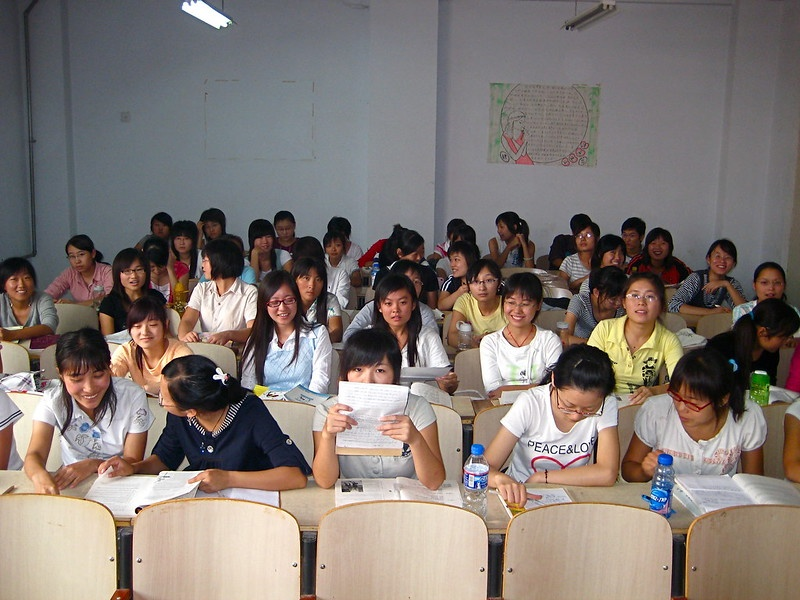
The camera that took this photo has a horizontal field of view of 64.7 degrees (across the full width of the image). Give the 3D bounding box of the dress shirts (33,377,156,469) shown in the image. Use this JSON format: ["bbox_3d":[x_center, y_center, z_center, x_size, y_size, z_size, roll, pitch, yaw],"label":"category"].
[{"bbox_3d":[-1.171,0.512,2.531,0.376,0.405,0.199,-2,9,5],"label":"dress shirts"}]

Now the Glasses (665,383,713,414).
[{"bbox_3d":[1.090,0.379,2.397,0.145,0.086,0.042,3,4,28],"label":"Glasses"}]

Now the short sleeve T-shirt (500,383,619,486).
[{"bbox_3d":[0.619,0.518,2.423,0.349,0.364,0.193,-1,22,-7],"label":"short sleeve T-shirt"}]

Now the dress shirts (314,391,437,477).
[{"bbox_3d":[-0.080,0.459,2.168,0.508,0.371,0.140,-2,-1,6],"label":"dress shirts"}]

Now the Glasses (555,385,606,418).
[{"bbox_3d":[0.650,0.377,2.319,0.155,0.125,0.091,3,4,28],"label":"Glasses"}]

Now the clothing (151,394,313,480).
[{"bbox_3d":[-0.664,0.519,2.379,0.605,0.315,0.275,4,-4,-11],"label":"clothing"}]
